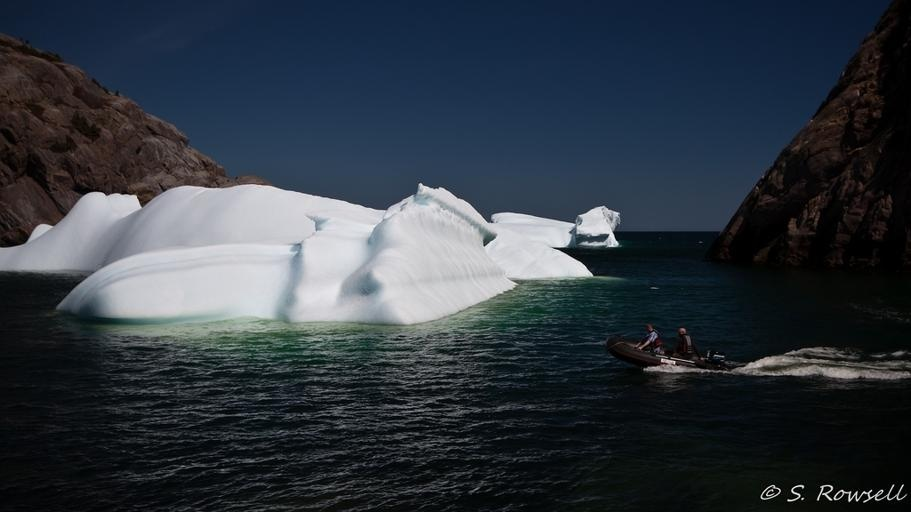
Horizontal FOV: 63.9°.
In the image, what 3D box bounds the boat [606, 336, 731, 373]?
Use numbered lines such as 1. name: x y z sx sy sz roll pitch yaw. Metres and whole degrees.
1. boat: 10.666 5.095 36.680 5.416 0.670 2.041 5 -6 13
